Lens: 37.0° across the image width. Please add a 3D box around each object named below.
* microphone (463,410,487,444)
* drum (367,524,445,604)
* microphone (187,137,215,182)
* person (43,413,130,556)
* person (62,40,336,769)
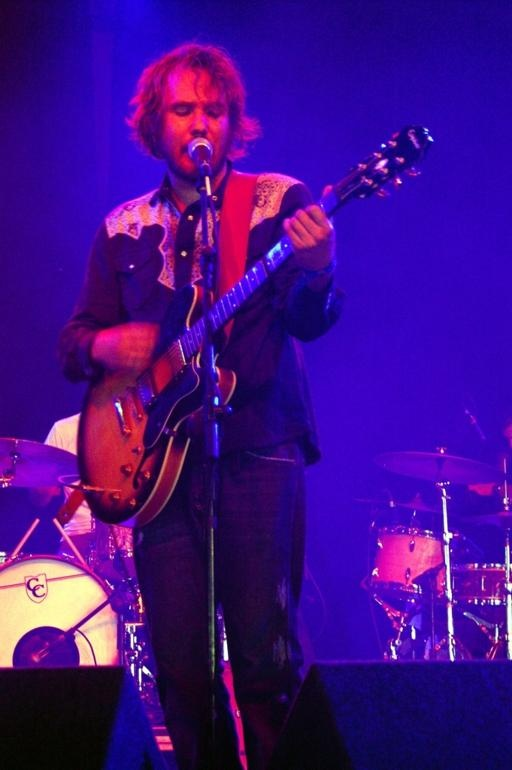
[{"bbox_3d":[1.346,0.251,4.678,0.042,0.277,0.092,-11,-16,-39],"label":"microphone"},{"bbox_3d":[0.848,1.004,4.295,0.360,0.317,0.394,-7,-31,30],"label":"drum"},{"bbox_3d":[-0.136,-0.569,1.897,0.039,0.048,0.171,6,36,-17],"label":"microphone"},{"bbox_3d":[-1.027,0.514,4.413,0.140,1.146,0.502,3,10,-44],"label":"person"},{"bbox_3d":[-0.135,-0.079,1.918,0.678,1.525,1.277,-4,18,-15],"label":"person"}]
